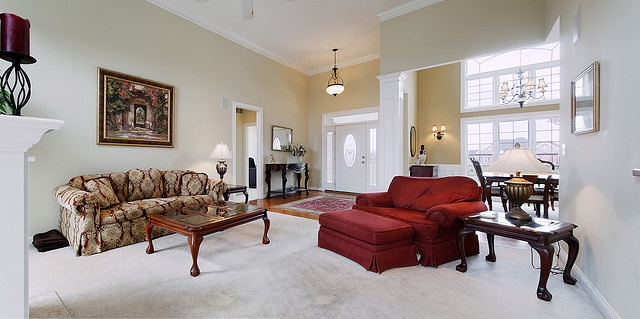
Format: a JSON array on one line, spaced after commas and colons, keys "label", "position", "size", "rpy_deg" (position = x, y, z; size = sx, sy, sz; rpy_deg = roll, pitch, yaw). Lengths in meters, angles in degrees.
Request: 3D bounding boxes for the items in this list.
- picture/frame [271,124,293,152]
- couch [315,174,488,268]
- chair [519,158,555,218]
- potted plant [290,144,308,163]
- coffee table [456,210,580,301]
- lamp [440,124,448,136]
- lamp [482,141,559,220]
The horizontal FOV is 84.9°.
[{"label": "picture/frame", "position": [-1.174, -0.617, 10.440], "size": [0.079, 0.665, 0.966], "rpy_deg": [-4, -6, 35]}, {"label": "couch", "position": [1.507, 1.222, 6.473], "size": [2.251, 1.124, 2.123], "rpy_deg": [1, -2, -31]}, {"label": "chair", "position": [4.716, 0.780, 7.569], "size": [0.559, 0.743, 0.558], "rpy_deg": [-10, -4, 21]}, {"label": "potted plant", "position": [-0.609, -0.180, 11.002], "size": [0.384, 0.580, 0.834], "rpy_deg": [-1, 0, 26]}, {"label": "coffee table", "position": [3.341, 1.241, 5.924], "size": [1.571, 1.026, 1.852], "rpy_deg": [-1, 0, -35]}, {"label": "lamp", "position": [3.646, -0.839, 10.481], "size": [0.220, 0.388, 0.099], "rpy_deg": [-1, 2, 15]}, {"label": "lamp", "position": [3.477, 0.392, 6.134], "size": [1.179, 1.193, 1.205], "rpy_deg": [5, -8, -34]}]
